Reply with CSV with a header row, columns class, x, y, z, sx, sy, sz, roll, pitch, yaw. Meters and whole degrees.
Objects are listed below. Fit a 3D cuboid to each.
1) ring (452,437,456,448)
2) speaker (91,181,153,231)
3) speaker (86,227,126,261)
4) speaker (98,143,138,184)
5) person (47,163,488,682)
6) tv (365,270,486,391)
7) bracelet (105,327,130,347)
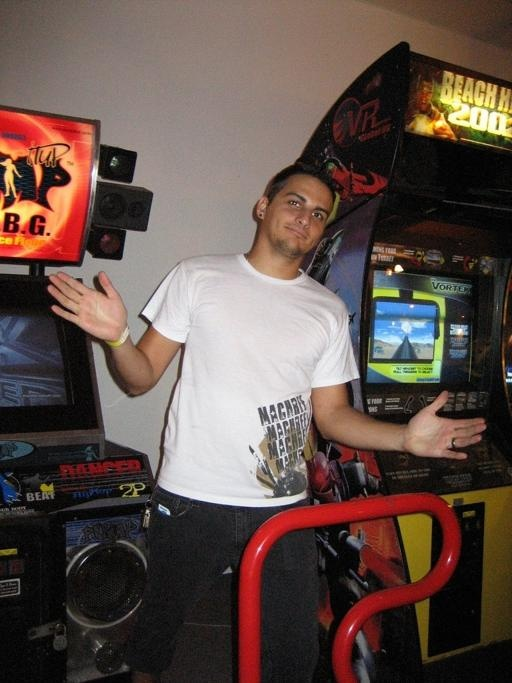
class,x,y,z,sx,sy,sz,roll,pitch,yaw
ring,0.472,0.243,1.262,0.002,0.024,0.027,6,7,38
speaker,-0.456,-0.452,1.760,0.175,0.135,0.087,7,16,-33
speaker,-0.501,-0.332,1.778,0.096,0.079,0.126,2,14,-27
speaker,-0.452,-0.583,1.731,0.127,0.114,0.126,5,5,-33
person,0.003,0.217,1.401,0.968,1.439,0.499,2,5,2
tv,0.589,-0.030,1.884,0.474,0.405,0.047,5,-6,-19
bracelet,-0.314,-0.011,1.216,0.039,0.018,0.052,-24,8,25
